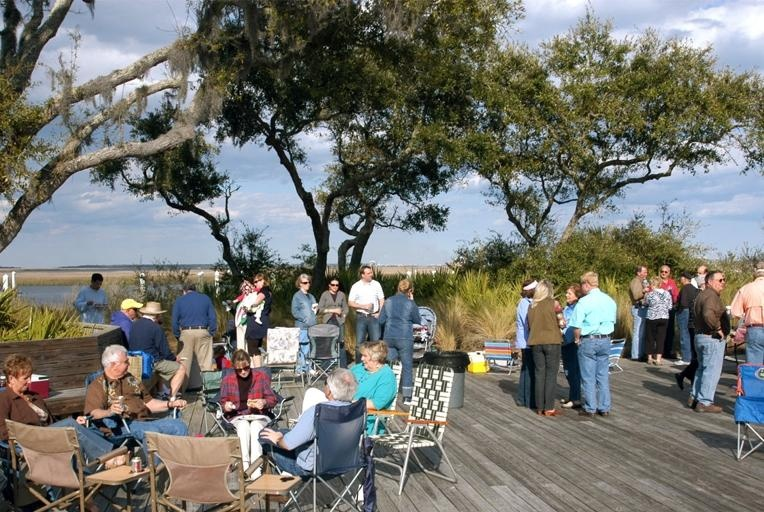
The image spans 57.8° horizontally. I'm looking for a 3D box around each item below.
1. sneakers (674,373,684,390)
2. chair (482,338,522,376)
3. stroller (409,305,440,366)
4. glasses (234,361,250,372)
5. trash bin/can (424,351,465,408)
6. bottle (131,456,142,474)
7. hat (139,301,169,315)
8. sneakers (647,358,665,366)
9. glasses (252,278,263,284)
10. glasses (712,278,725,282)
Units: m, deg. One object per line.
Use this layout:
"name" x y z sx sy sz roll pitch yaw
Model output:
"sneakers" 6.476 2.715 14.984 0.099 0.391 0.139 -15 -2 17
"chair" 2.820 2.173 16.292 0.723 0.943 1.482 -2 -38 14
"stroller" 0.862 1.855 17.343 0.741 1.373 1.194 -1 -2 17
"glasses" -2.288 1.794 11.311 0.243 0.180 0.168 1 -4 -15
"trash bin/can" 1.271 2.380 13.686 0.913 1.125 0.993 0 -4 0
"bottle" -3.503 2.970 9.889 0.152 0.193 0.379 1 -5 -21
"hat" -4.436 1.017 13.558 0.408 0.212 0.494 10 -4 1
"sneakers" 6.938 2.659 17.438 0.150 0.192 0.387 -1 -7 -6
"glasses" -2.687 0.530 14.944 0.148 0.103 0.119 5 -7 -41
"glasses" 6.384 0.434 13.074 0.204 0.074 0.058 2 -4 -26
